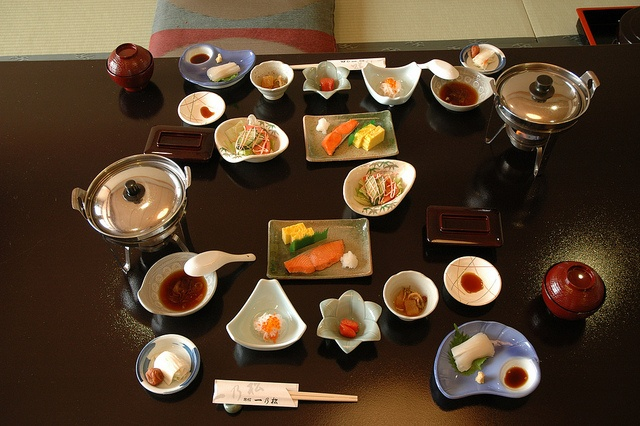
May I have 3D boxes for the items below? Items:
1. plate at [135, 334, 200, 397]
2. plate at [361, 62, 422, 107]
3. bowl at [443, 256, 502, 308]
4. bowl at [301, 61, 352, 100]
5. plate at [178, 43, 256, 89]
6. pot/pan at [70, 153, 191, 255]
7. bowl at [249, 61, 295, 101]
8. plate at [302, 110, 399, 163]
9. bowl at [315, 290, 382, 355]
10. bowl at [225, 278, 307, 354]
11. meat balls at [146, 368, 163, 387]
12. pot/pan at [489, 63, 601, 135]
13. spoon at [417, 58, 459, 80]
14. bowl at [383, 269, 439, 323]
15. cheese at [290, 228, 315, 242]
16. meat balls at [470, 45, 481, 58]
[{"bbox_3d":[-0.767,0.774,2.458,0.305,0.104,0.276,-28,57,-20],"label":"plate"},{"bbox_3d":[0.487,-0.930,3.320,0.316,0.171,0.376,24,58,13],"label":"plate"},{"bbox_3d":[0.935,0.394,2.764,0.061,0.278,0.278,-36,88,10],"label":"bowl"},{"bbox_3d":[0.035,-0.948,3.327,0.303,0.094,0.277,0,63,1],"label":"bowl"},{"bbox_3d":[-0.748,-1.099,3.447,0.428,0.091,0.388,-33,60,-21],"label":"plate"},{"bbox_3d":[-0.997,-0.082,2.657,0.579,0.409,0.542,-4,67,-3],"label":"pot/pan"},{"bbox_3d":[-0.250,-0.948,3.336,0.101,0.215,0.218,16,100,-33],"label":"bowl"},{"bbox_3d":[0.202,-0.523,3.024,0.538,0.096,0.353,-1,71,0],"label":"plate"},{"bbox_3d":[0.162,0.572,2.490,0.335,0.111,0.359,0,47,0],"label":"bowl"},{"bbox_3d":[-0.213,0.585,2.554,0.422,0.155,0.438,18,57,-30],"label":"bowl"},{"bbox_3d":[-0.829,0.831,2.418,0.080,0.031,0.086,2,74,-8],"label":"meat balls"},{"bbox_3d":[1.317,-0.710,2.814,0.524,0.277,0.492,7,70,10],"label":"pot/pan"},{"bbox_3d":[0.810,-0.968,3.185,0.196,0.036,0.144,-2,74,5],"label":"spoon"},{"bbox_3d":[0.495,0.444,2.602,0.266,0.127,0.284,-2,68,6],"label":"bowl"},{"bbox_3d":[-0.093,0.115,2.742,0.082,0.034,0.087,20,60,11],"label":"cheese"},{"bbox_3d":[1.125,-1.170,3.433,0.062,0.032,0.087,4,76,16],"label":"meat balls"}]
